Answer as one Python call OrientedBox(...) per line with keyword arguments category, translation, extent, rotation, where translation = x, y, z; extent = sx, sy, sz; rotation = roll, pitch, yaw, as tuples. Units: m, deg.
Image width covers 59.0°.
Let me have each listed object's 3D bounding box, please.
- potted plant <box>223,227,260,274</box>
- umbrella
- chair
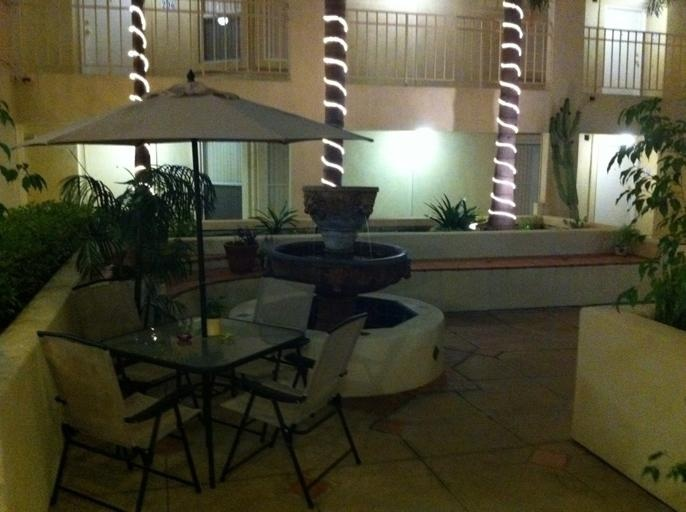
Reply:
OrientedBox(category="potted plant", translation=(-1.285, -0.043, 8.365), extent=(0.496, 0.683, 0.560), rotation=(0, 0, 0))
OrientedBox(category="umbrella", translation=(-0.876, -0.047, 6.509), extent=(3.166, 3.494, 3.091), rotation=(4, 20, 14))
OrientedBox(category="chair", translation=(-1.124, 0.903, 4.993), extent=(2.453, 1.332, 1.176), rotation=(5, 8, 37))
